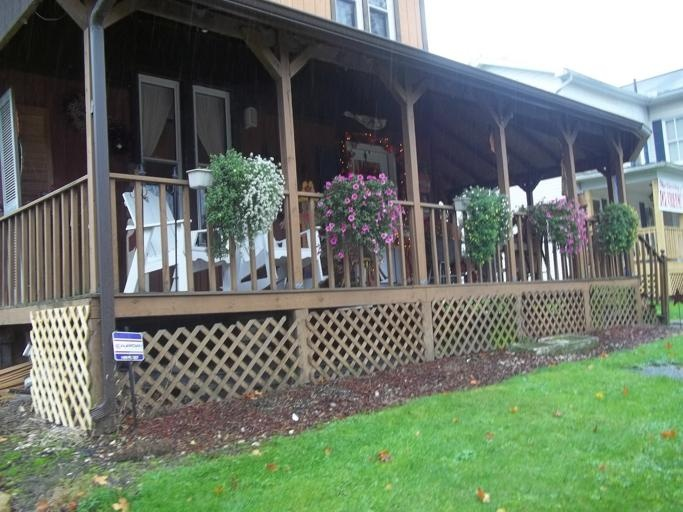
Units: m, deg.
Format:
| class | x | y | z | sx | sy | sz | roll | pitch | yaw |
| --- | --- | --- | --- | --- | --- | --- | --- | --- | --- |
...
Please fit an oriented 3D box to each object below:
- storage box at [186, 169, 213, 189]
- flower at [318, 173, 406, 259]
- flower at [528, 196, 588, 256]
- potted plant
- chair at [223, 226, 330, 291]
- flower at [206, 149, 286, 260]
| class | x | y | z | sx | sy | sz | roll | pitch | yaw |
| --- | --- | --- | --- | --- | --- | --- | --- | --- | --- |
| storage box | -1.862 | -1.002 | 7.386 | 0.220 | 0.239 | 0.270 | 0 | -1 | -16 |
| flower | 0.237 | -0.738 | 8.828 | 1.122 | 1.457 | 1.136 | -1 | 3 | -22 |
| flower | 4.465 | -0.570 | 11.633 | 1.378 | 1.151 | 0.566 | -3 | 5 | -20 |
| potted plant | 2.604 | -0.616 | 10.553 | 0.945 | 0.847 | 1.309 | -2 | 21 | -5 |
| chair | -1.166 | 0.182 | 9.016 | 0.860 | 1.237 | 1.151 | 6 | -17 | -38 |
| flower | -1.442 | -0.948 | 7.774 | 1.045 | 1.422 | 0.966 | 6 | 31 | -23 |
